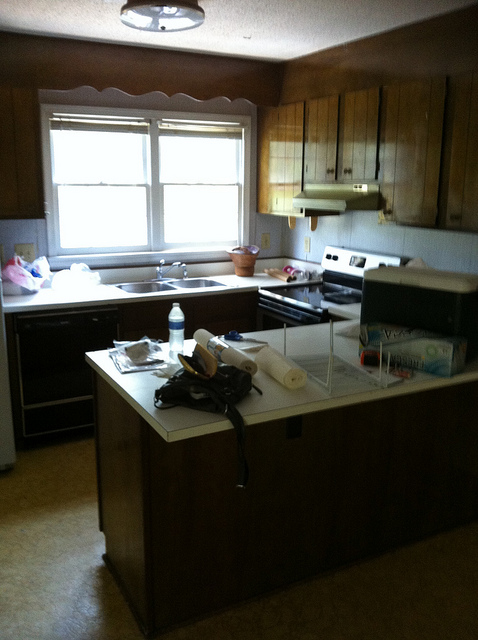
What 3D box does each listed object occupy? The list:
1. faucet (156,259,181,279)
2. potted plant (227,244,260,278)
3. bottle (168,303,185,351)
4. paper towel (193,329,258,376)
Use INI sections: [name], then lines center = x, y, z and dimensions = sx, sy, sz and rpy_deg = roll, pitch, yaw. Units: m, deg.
[faucet]
center = -0.539, -0.373, 3.775
dimensions = 0.189, 0.142, 0.172
rpy_deg = 5, 8, 36
[potted plant]
center = 0.026, -0.471, 4.030
dimensions = 0.258, 0.200, 0.242
rpy_deg = -9, 12, -35
[bottle]
center = -0.233, 0.028, 1.909
dimensions = 0.057, 0.174, 0.109
rpy_deg = -1, 6, -7
[paper towel]
center = -0.063, 0.107, 1.749
dimensions = 0.061, 0.073, 0.366
rpy_deg = -18, 23, -25
